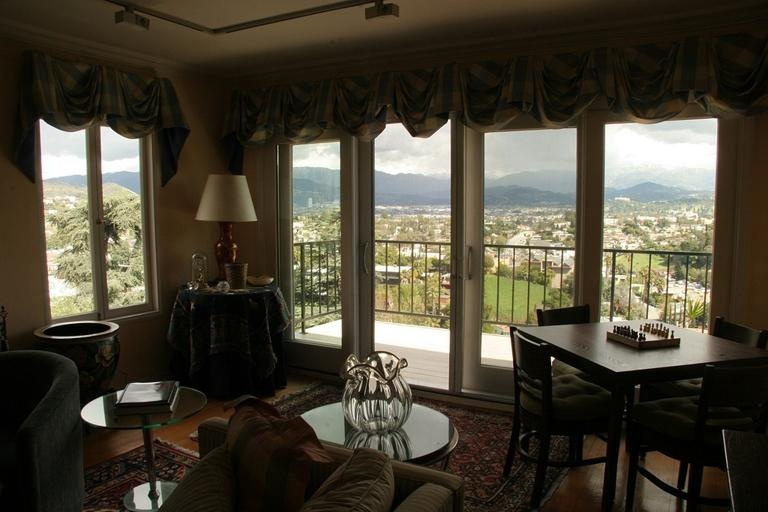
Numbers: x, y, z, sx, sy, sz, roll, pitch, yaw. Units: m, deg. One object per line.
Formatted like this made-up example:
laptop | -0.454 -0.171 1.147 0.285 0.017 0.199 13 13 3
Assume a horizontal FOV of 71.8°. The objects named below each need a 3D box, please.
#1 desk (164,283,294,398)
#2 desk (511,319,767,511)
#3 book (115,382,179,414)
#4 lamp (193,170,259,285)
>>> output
desk | -1.611 0.834 5.117 1.017 0.860 1.021 2 -3 -9
desk | 1.654 0.730 3.549 1.259 0.925 1.240 -8 14 -24
book | -1.500 0.907 3.381 0.335 0.103 0.326 0 4 -12
lamp | -1.502 -0.306 5.143 0.527 1.011 0.570 0 5 -8
